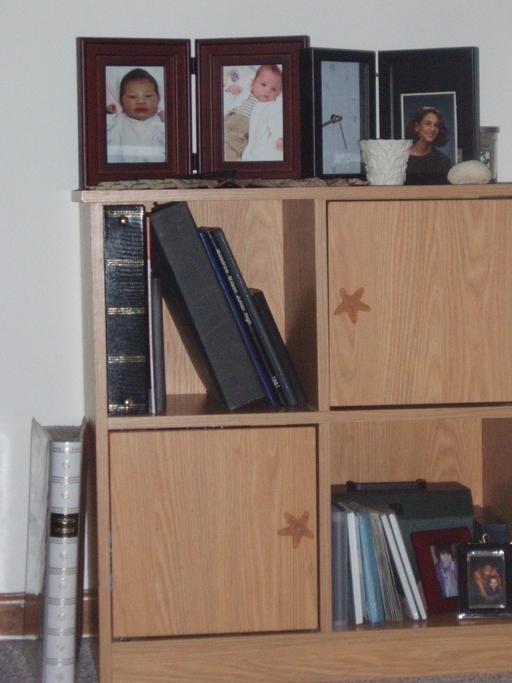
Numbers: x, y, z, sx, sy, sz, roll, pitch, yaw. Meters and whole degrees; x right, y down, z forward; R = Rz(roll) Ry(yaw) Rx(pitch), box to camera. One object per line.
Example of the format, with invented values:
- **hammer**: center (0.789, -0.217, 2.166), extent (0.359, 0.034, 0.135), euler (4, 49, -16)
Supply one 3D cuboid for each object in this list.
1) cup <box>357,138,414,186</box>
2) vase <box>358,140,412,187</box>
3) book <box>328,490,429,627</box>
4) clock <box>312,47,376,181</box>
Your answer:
- **cup**: center (0.227, -0.316, 1.634), extent (0.087, 0.068, 0.087), euler (-1, 5, 0)
- **vase**: center (0.223, -0.316, 1.635), extent (0.087, 0.068, 0.087), euler (-1, 4, -1)
- **book**: center (0.213, 0.396, 1.692), extent (0.073, 0.211, 0.166), euler (-10, -9, 42)
- **clock**: center (0.168, -0.439, 1.793), extent (0.126, 0.214, 0.028), euler (-3, -1, -13)
